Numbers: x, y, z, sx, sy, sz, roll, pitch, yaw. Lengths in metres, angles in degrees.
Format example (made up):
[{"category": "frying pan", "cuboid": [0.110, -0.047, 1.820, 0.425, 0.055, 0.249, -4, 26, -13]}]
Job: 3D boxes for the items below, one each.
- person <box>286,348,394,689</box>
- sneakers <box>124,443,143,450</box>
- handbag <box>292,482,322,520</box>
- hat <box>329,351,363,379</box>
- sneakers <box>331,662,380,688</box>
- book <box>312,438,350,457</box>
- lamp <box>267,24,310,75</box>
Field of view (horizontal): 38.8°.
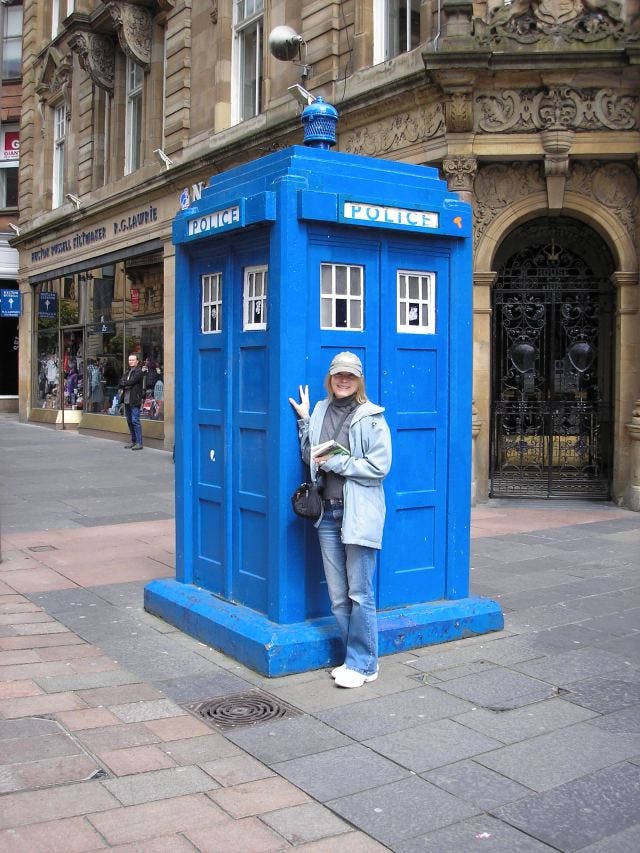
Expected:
[{"category": "person", "cuboid": [0.107, 0.457, 4.632, 0.438, 1.677, 0.497, 0, 1, -11]}, {"category": "sneakers", "cuboid": [-3.587, 0.371, 17.743, 0.160, 0.102, 0.257, 3, -6, 10]}, {"category": "handbag", "cuboid": [-0.064, 0.361, 4.534, 0.107, 0.208, 0.188, -5, 9, -32]}, {"category": "hat", "cuboid": [0.133, -0.322, 4.589, 0.107, 0.102, 0.162, 10, -6, 2]}, {"category": "sneakers", "cuboid": [0.175, 1.251, 4.607, 0.242, 0.090, 0.228, 0, 1, 0]}, {"category": "book", "cuboid": [0.051, 0.097, 4.502, 0.186, 0.078, 0.106, 0, 1, 11]}, {"category": "lamp", "cuboid": [-0.287, -3.557, 8.655, 0.393, 0.556, 0.296, 2, 17, 46]}]
